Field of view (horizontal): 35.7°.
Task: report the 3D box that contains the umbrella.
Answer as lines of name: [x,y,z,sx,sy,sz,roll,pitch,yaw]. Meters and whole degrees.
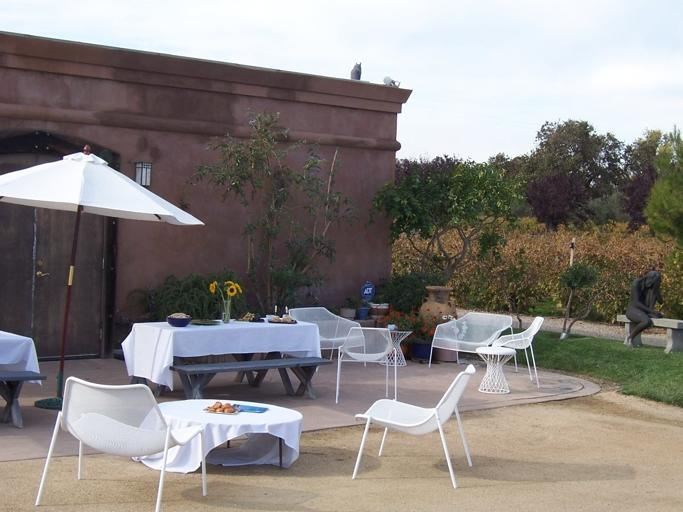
umbrella: [-3.790,0.279,16.108,2.549,3.851,1.409,-4,12,-21]

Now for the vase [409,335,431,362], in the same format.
vase: [1.439,1.752,19.757,0.364,0.316,0.340,-1,4,-37]

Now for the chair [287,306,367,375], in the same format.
chair: [-0.369,1.413,18.294,0.889,1.007,0.894,3,-4,-39]

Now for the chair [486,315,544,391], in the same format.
chair: [3.155,1.718,18.718,1.037,1.751,1.086,2,-4,0]

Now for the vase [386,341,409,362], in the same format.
vase: [1.096,1.770,19.705,0.264,0.374,0.343,1,-6,2]

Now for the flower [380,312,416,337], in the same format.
flower: [1.080,1.263,19.897,0.411,0.236,0.428,8,-2,-27]

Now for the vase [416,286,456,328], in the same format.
vase: [1.814,0.967,20.073,0.612,0.729,0.665,4,-2,-9]

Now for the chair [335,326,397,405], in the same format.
chair: [0.412,1.810,17.881,1.132,1.543,1.172,2,10,19]

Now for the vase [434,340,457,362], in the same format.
vase: [1.945,1.818,19.764,0.359,0.324,0.395,1,0,-11]

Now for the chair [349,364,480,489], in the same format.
chair: [1.015,2.273,14.593,1.473,1.603,1.254,1,5,14]

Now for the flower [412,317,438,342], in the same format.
flower: [1.554,1.353,19.825,0.369,0.382,0.391,10,6,39]
